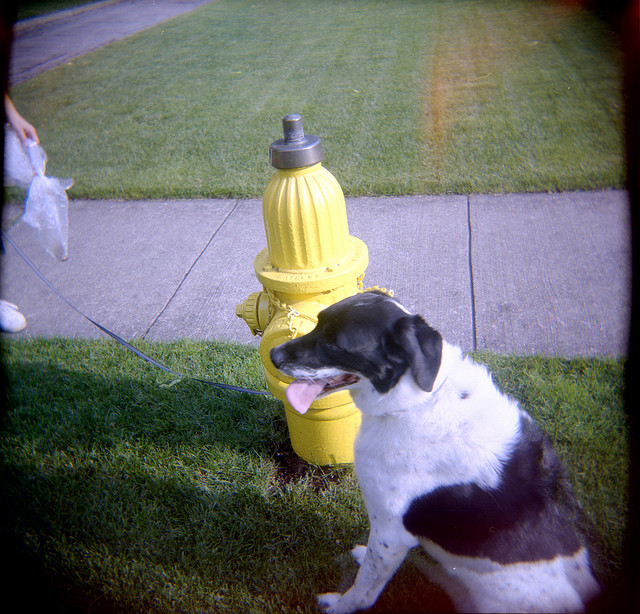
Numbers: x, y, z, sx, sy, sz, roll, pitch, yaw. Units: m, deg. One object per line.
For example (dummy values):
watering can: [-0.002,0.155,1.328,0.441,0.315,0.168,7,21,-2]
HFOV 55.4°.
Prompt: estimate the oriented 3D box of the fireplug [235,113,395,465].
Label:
fireplug: [-0.063,0.071,2.794,0.621,1.789,0.740,-7,46,-4]
